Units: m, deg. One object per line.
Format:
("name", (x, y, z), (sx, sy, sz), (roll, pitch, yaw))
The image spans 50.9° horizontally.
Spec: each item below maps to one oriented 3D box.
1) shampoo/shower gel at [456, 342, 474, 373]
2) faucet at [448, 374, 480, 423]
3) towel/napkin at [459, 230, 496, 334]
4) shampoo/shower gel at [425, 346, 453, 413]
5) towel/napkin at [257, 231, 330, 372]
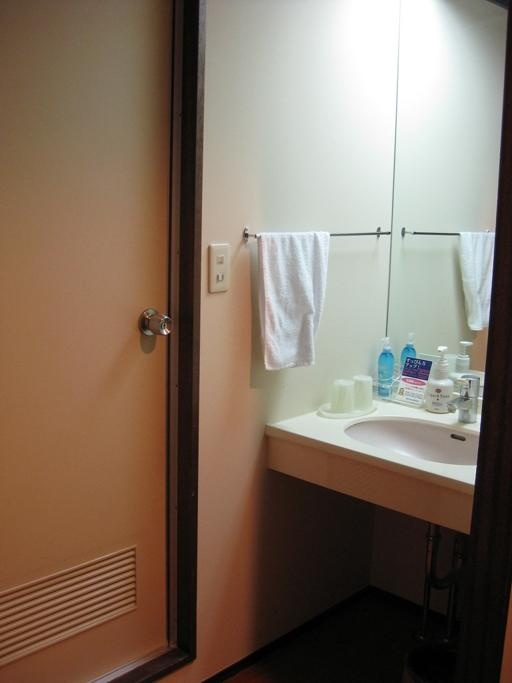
("shampoo/shower gel", (0.649, 0.052, 1.692), (0.016, 0.102, 0.057), (-2, 5, -41))
("faucet", (0.637, 0.168, 1.646), (0.085, 0.140, 0.161), (3, 5, 25))
("towel/napkin", (0.678, -0.185, 1.676), (0.054, 0.309, 0.114), (-3, 5, -45))
("shampoo/shower gel", (0.580, 0.123, 1.711), (0.083, 0.207, 0.062), (3, 4, 26))
("towel/napkin", (0.094, -0.118, 1.469), (0.057, 0.468, 0.252), (6, 10, 45))
